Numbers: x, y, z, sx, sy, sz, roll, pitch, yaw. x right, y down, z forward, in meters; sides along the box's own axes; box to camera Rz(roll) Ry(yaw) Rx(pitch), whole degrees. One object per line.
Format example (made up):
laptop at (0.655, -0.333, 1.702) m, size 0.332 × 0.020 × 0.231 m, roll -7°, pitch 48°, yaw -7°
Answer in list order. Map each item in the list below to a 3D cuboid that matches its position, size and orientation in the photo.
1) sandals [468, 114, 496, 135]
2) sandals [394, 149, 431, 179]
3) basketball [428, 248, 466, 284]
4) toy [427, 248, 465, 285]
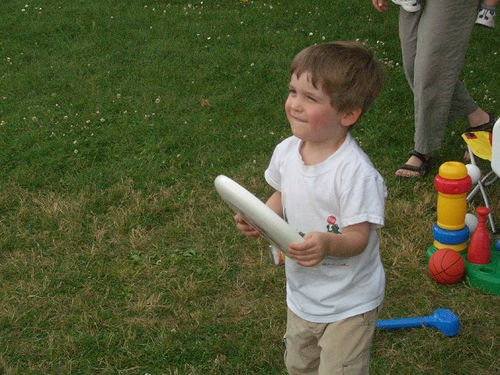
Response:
sandals at (2.162, -0.587, 5.488) m, size 0.371 × 0.182 × 0.131 m, roll 3°, pitch -1°, yaw 36°
sandals at (1.535, -0.223, 5.619) m, size 0.309 × 0.254 × 0.279 m, roll -19°, pitch 29°, yaw -37°
basketball at (1.426, 0.576, 4.326) m, size 0.233 × 0.263 × 0.246 m, roll -1°, pitch 1°, yaw 7°
toy at (1.420, 0.561, 4.350) m, size 0.234 × 0.264 × 0.247 m, roll -1°, pitch 1°, yaw 8°
